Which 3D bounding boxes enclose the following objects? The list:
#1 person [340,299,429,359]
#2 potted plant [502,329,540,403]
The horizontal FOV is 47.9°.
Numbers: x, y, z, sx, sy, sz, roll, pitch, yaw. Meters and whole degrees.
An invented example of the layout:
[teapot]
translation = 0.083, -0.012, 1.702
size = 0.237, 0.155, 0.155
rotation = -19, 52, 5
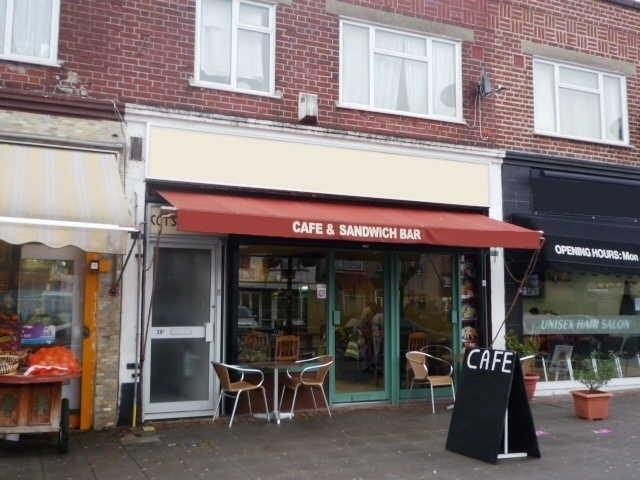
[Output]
[person]
translation = 1.004, 1.909, 14.241
size = 1.211, 0.732, 1.220
rotation = 1, -2, -9
[potted plant]
translation = 4.223, 2.674, 14.856
size = 0.682, 1.393, 1.913
rotation = 2, 7, 18
